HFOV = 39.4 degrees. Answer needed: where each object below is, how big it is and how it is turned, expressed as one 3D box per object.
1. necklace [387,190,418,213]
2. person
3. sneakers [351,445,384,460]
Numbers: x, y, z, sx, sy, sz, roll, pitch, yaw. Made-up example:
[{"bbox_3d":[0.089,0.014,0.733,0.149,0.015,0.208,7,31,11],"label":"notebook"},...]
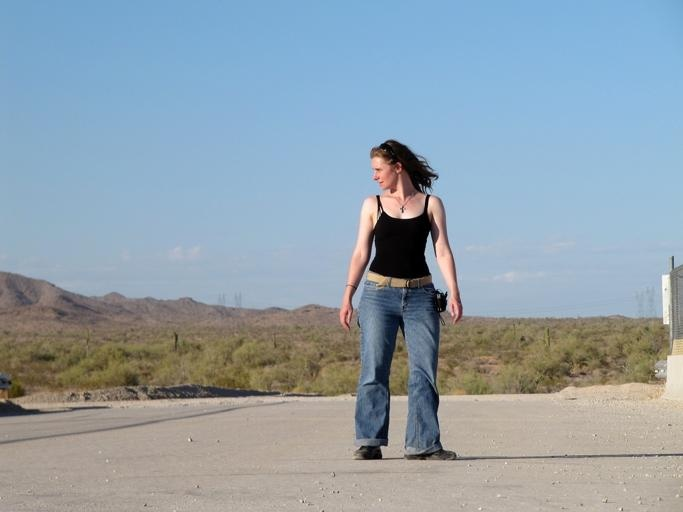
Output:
[{"bbox_3d":[0.699,-0.628,10.995,0.358,0.268,0.113,2,5,5],"label":"necklace"},{"bbox_3d":[0.664,0.495,10.902,1.271,3.696,0.433,-3,-4,4],"label":"person"},{"bbox_3d":[0.291,2.252,10.939,0.337,0.173,0.135,10,-12,-13],"label":"sneakers"}]
